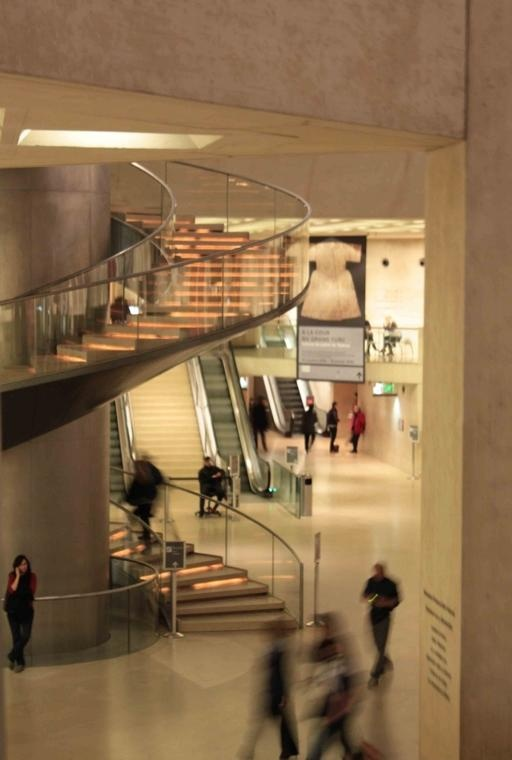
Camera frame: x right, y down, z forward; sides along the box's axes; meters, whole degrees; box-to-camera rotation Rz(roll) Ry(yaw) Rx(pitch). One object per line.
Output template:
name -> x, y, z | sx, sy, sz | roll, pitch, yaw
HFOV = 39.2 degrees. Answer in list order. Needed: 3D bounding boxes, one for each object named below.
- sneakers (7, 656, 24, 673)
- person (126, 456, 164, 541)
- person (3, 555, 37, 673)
sneakers -> -2.157, 2.538, 6.459 | 0.079, 0.085, 0.182 | 5, 0, -15
person -> -1.428, 1.442, 9.015 | 0.392, 1.102, 0.303 | -10, 23, -27
person -> -2.031, 2.010, 6.139 | 0.235, 1.301, 0.529 | 1, 9, -20
